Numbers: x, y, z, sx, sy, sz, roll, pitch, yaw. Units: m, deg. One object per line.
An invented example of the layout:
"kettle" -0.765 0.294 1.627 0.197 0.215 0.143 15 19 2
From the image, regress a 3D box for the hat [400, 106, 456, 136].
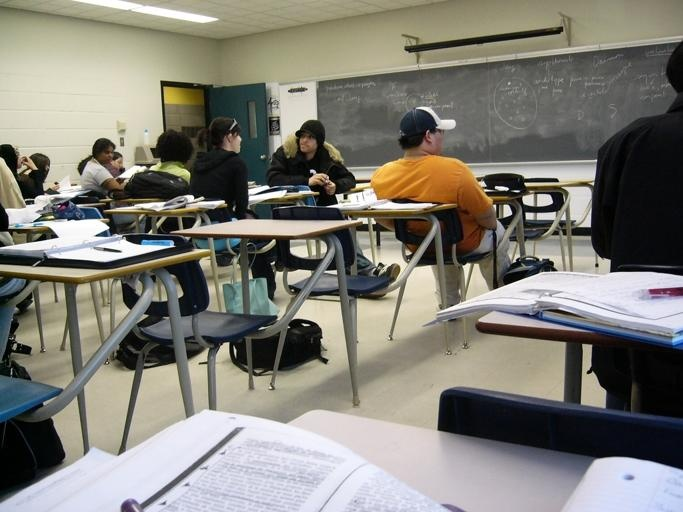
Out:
"hat" 0.504 -0.791 3.051 0.280 0.176 0.322 -1 11 15

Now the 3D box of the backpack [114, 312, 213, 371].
"backpack" -1.023 0.517 2.979 0.488 0.164 0.423 -7 0 -8

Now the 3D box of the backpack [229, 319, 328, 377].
"backpack" -0.347 0.466 2.806 0.393 0.219 0.567 6 5 34

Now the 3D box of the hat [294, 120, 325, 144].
"hat" -0.249 -0.991 4.190 0.232 0.199 0.273 -5 11 -5
